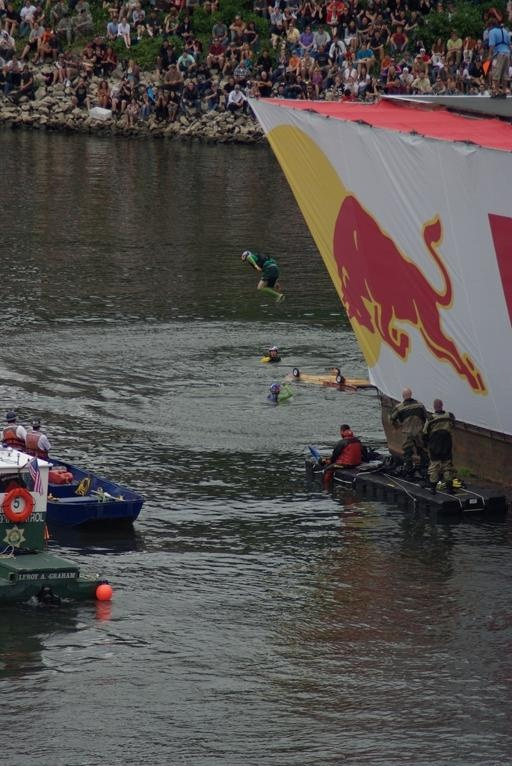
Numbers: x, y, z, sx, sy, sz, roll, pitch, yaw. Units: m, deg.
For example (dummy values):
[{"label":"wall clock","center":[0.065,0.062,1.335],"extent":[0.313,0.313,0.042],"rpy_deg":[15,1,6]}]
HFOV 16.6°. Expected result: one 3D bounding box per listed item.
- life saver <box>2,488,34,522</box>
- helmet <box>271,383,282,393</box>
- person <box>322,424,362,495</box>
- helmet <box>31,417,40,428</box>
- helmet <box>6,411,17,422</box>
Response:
[{"label":"life saver","center":[-3.078,1.597,22.627],"extent":[0.453,0.478,0.167],"rpy_deg":[-6,14,-29]},{"label":"helmet","center":[0.328,0.090,32.475],"extent":[0.148,0.170,0.181],"rpy_deg":[-1,-7,-29]},{"label":"person","center":[1.326,1.180,28.006],"extent":[0.608,1.071,0.444],"rpy_deg":[19,20,39]},{"label":"helmet","center":[-3.370,0.595,26.536],"extent":[0.127,0.181,0.166],"rpy_deg":[0,13,-8]},{"label":"helmet","center":[-3.767,0.507,26.754],"extent":[0.115,0.163,0.155],"rpy_deg":[-2,23,-5]}]
